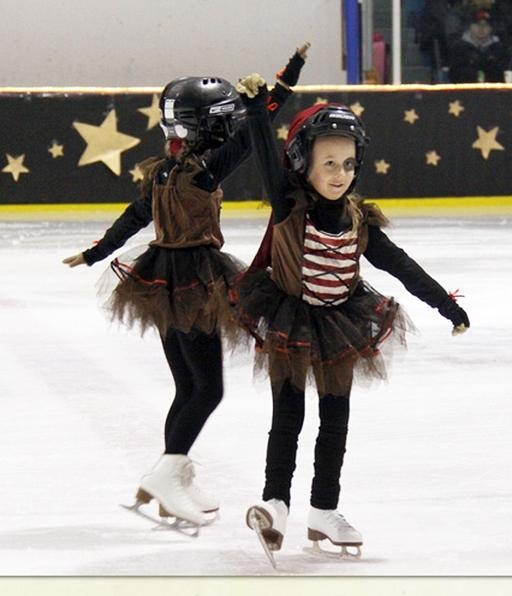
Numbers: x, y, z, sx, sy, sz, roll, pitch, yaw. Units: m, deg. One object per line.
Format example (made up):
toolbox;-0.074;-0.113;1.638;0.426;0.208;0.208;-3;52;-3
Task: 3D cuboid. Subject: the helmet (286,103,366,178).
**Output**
helmet;0.169;-0.334;1.854;0.160;0.133;0.163;6;-10;-4

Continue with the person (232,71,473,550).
person;0.191;0.048;1.848;0.461;1.018;0.325;7;7;21

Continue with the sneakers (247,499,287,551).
sneakers;0.028;0.465;1.756;0.064;0.054;0.142;10;-20;27

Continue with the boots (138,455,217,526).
boots;-0.184;0.444;1.986;0.192;0.155;0.090;3;6;-2

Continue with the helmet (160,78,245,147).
helmet;-0.136;-0.447;2.050;0.203;0.124;0.151;-9;12;-37

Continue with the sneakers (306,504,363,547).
sneakers;0.174;0.498;1.853;0.060;0.070;0.154;8;-8;-38
